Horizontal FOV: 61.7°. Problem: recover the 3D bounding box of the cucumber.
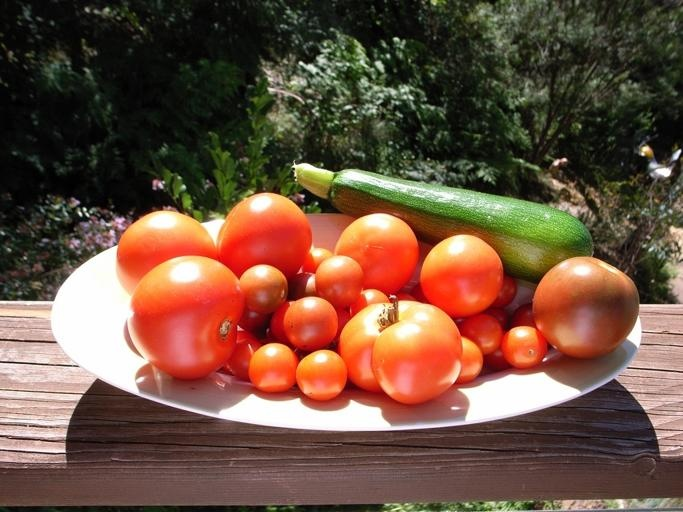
[{"bbox_3d":[0.245,-0.107,1.600,0.883,0.240,0.244,18,54,7],"label":"cucumber"}]
